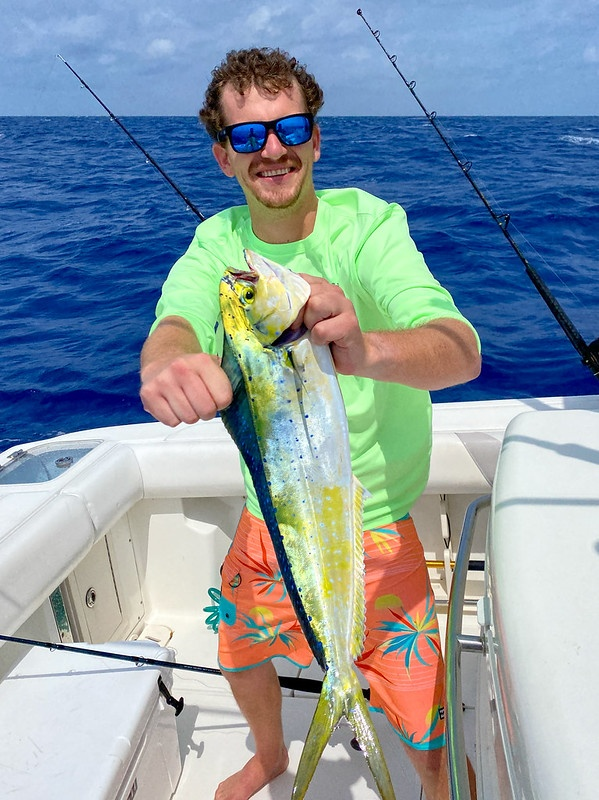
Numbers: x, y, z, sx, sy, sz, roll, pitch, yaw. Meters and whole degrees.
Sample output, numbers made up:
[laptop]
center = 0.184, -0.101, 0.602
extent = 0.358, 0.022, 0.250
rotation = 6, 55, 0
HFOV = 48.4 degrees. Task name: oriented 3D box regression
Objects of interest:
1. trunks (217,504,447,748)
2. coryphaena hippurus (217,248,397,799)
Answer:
[trunks]
center = 0.096, 0.586, 1.916
extent = 0.786, 0.612, 0.290
rotation = 6, 5, 33
[coryphaena hippurus]
center = 0.082, 0.307, 1.454
extent = 0.439, 1.175, 0.282
rotation = -12, 5, 13
